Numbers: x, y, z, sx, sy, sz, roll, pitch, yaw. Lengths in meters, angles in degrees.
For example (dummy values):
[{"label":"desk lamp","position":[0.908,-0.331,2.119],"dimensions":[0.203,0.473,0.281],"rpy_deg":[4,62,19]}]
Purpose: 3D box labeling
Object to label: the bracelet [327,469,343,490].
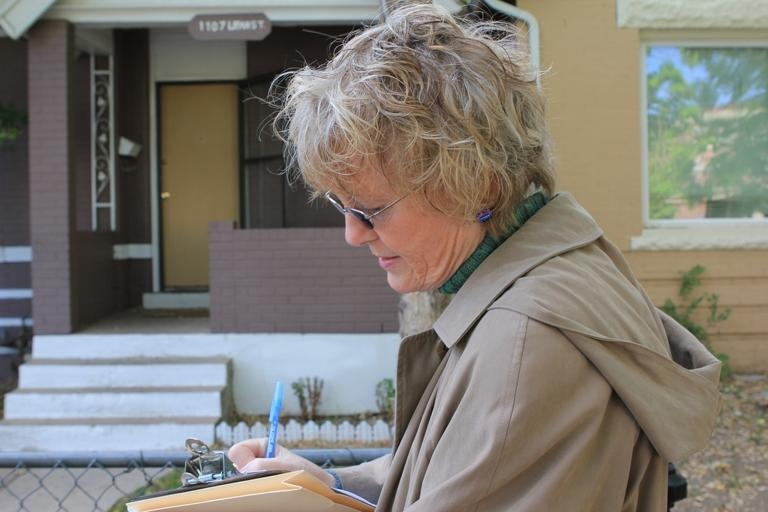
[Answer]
[{"label":"bracelet","position":[-0.374,1.752,7.904],"dimensions":[0.061,0.207,0.079],"rpy_deg":[-32,3,1]}]
